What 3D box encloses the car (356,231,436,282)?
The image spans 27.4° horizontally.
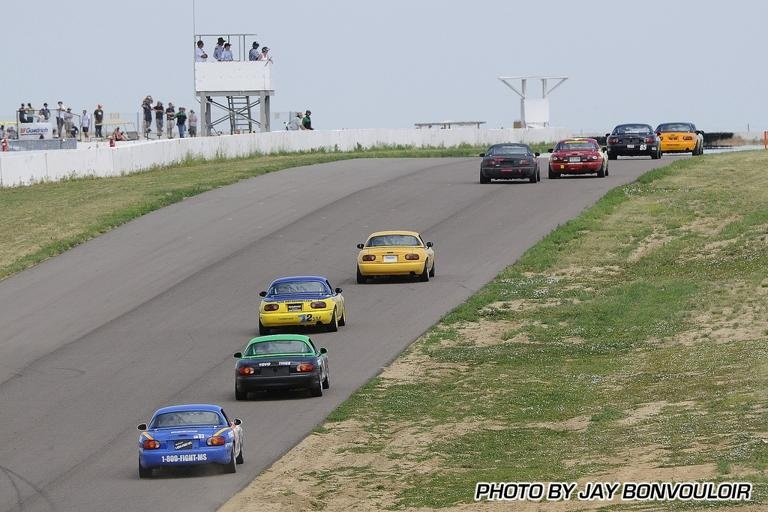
[{"bbox_3d":[0.268,0.081,48.606,2.278,1.566,1.252,-1,7,-3],"label":"car"}]

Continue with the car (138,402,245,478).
[{"bbox_3d":[-4.471,4.303,36.281,2.366,1.585,0.768,-1,7,-6],"label":"car"}]

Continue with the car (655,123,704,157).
[{"bbox_3d":[12.878,-5.147,69.340,1.928,1.444,1.912,1,8,9],"label":"car"}]

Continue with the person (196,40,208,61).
[{"bbox_3d":[-9.580,-10.672,82.023,0.218,1.047,0.612,6,10,40],"label":"person"}]

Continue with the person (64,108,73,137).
[{"bbox_3d":[-15.722,-6.645,78.571,0.418,1.380,1.074,-2,8,-12],"label":"person"}]

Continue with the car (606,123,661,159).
[{"bbox_3d":[10.500,-4.892,67.000,2.163,1.391,1.226,1,7,8],"label":"car"}]

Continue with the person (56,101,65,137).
[{"bbox_3d":[-16.109,-6.742,78.465,0.420,1.587,1.328,-2,8,-11],"label":"person"}]

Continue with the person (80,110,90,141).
[{"bbox_3d":[-15.232,-6.643,80.196,0.465,1.414,2.428,-2,8,-11],"label":"person"}]

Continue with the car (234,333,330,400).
[{"bbox_3d":[-2.629,2.660,39.583,2.447,1.582,4.214,2,-9,-1],"label":"car"}]
